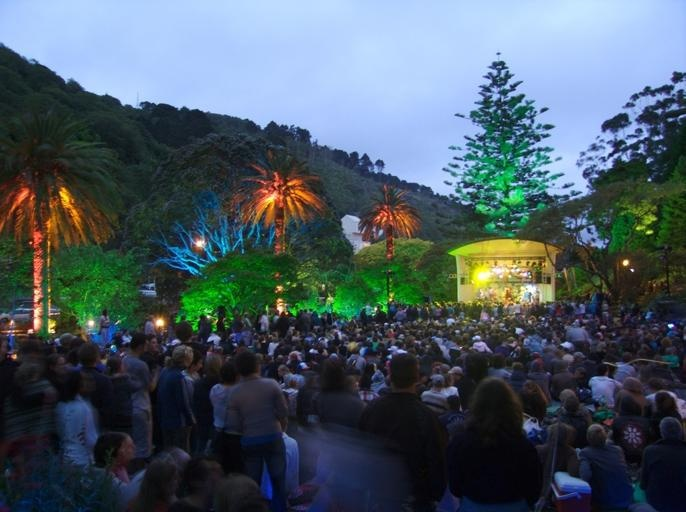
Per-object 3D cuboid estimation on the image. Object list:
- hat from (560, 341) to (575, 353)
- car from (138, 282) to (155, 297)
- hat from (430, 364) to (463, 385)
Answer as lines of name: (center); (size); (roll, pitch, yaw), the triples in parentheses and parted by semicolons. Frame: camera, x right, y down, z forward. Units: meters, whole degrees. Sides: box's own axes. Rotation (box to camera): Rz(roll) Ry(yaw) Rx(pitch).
hat: (5.846, 2.346, 13.180); (0.478, 0.244, 0.631); (1, -1, 23)
car: (-16.232, 2.692, 42.226); (1.383, 0.842, 1.750); (2, 9, -13)
hat: (1.744, 2.065, 8.995); (0.651, 0.335, 0.403); (7, 1, 32)
